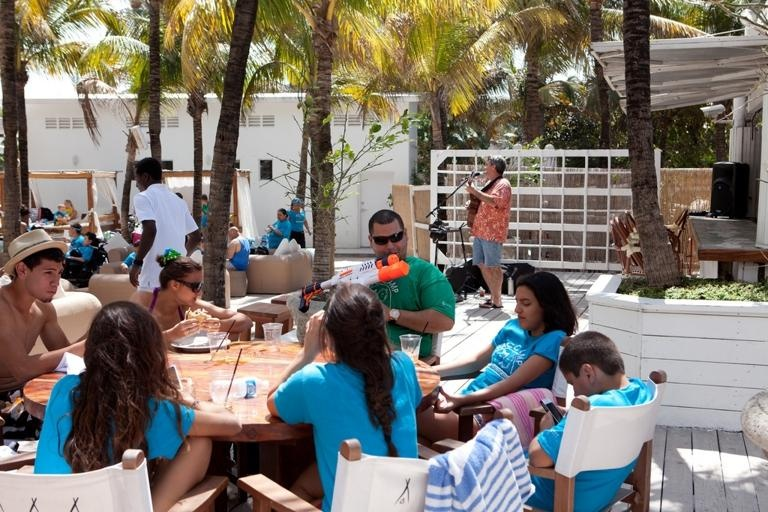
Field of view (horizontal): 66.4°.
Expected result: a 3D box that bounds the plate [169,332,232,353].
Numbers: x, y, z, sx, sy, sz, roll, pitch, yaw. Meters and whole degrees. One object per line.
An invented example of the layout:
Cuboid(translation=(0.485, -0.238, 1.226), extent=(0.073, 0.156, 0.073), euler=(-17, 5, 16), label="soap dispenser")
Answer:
Cuboid(translation=(-1.293, 0.614, 4.074), extent=(0.237, 0.040, 0.242), euler=(-1, 8, -29), label="plate")

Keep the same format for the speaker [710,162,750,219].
Cuboid(translation=(6.405, -1.202, 10.874), extent=(0.607, 1.053, 0.610), euler=(0, 3, 32), label="speaker")

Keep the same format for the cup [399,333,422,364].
Cuboid(translation=(0.162, 0.588, 3.744), extent=(0.150, 0.173, 0.161), euler=(1, 2, 0), label="cup")

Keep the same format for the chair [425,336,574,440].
Cuboid(translation=(0.759, 0.891, 3.789), extent=(0.607, 0.693, 0.758), euler=(3, 41, 6), label="chair")

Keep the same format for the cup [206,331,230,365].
Cuboid(translation=(-1.096, 0.623, 3.940), extent=(0.160, 0.185, 0.168), euler=(3, 1, 0), label="cup")

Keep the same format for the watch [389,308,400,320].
Cuboid(translation=(0.061, 0.369, 3.779), extent=(0.048, 0.081, 0.087), euler=(-7, -30, 0), label="watch")

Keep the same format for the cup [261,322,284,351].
Cuboid(translation=(-0.786, 0.568, 4.159), extent=(0.162, 0.200, 0.164), euler=(0, 1, 0), label="cup")

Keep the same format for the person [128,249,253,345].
Cuboid(translation=(-1.486, 0.400, 4.339), extent=(0.794, 0.907, 0.632), euler=(2, -9, 17), label="person")

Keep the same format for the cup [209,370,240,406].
Cuboid(translation=(-0.878, 0.726, 3.242), extent=(0.158, 0.173, 0.168), euler=(1, -2, 0), label="cup")

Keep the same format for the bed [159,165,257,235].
Cuboid(translation=(-5.353, -1.718, 17.545), extent=(1.885, 1.895, 1.495), euler=(-8, -1, -23), label="bed")

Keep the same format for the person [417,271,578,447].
Cuboid(translation=(0.689, 0.782, 3.895), extent=(1.079, 1.374, 0.744), euler=(-1, 8, -11), label="person")

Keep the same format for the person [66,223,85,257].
Cuboid(translation=(-6.568, -0.282, 12.557), extent=(0.374, 0.774, 0.417), euler=(5, 7, -16), label="person")

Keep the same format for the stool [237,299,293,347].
Cuboid(translation=(-1.257, 0.648, 6.247), extent=(0.455, 0.504, 0.488), euler=(3, 5, 14), label="stool")

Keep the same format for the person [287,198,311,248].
Cuboid(translation=(-2.107, -0.545, 14.085), extent=(0.607, 1.651, 0.456), euler=(-7, 28, -21), label="person")

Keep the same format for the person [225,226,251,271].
Cuboid(translation=(-2.905, -0.119, 11.170), extent=(0.526, 0.834, 0.587), euler=(9, -2, 6), label="person")

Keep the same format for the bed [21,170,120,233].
Cuboid(translation=(-9.807, -1.723, 18.628), extent=(2.042, 2.098, 1.902), euler=(2, 8, 1), label="bed")

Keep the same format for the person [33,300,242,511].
Cuboid(translation=(-1.217, 0.775, 2.926), extent=(0.735, 1.223, 0.772), euler=(16, 25, 8), label="person")

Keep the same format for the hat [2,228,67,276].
Cuboid(translation=(-2.427, -0.046, 4.040), extent=(0.368, 0.155, 0.322), euler=(-31, 2, -11), label="hat")
